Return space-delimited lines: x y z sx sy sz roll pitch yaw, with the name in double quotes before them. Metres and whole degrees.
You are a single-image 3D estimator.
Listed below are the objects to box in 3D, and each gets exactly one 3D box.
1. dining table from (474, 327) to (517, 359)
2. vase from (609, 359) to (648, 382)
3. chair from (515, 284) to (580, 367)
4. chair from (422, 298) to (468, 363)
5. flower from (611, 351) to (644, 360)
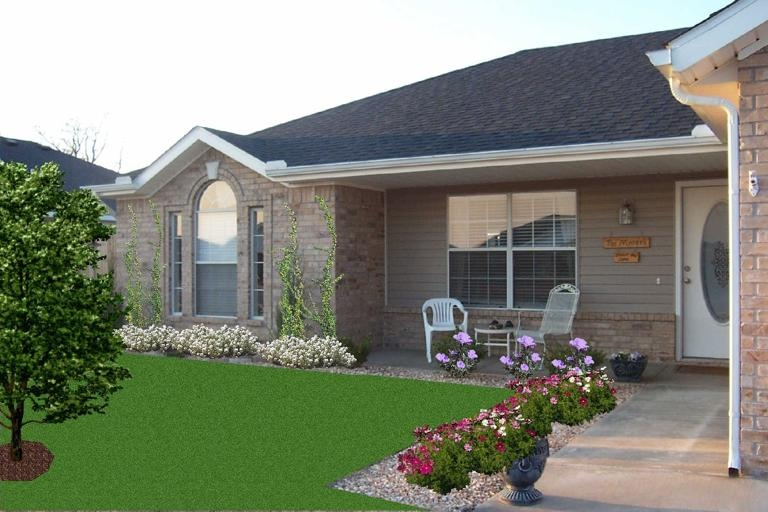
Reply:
"dining table" 2.230 1.701 12.401 0.775 0.490 0.728 0 5 11
"vase" 4.006 1.880 10.044 0.473 0.233 0.450 1 1 16
"chair" 3.138 1.230 11.771 1.095 1.344 0.968 -7 5 -40
"chair" 1.229 1.482 12.378 0.973 1.053 0.819 0 5 -1
"flower" 4.237 1.718 10.603 0.293 0.103 0.256 2 -4 -23
